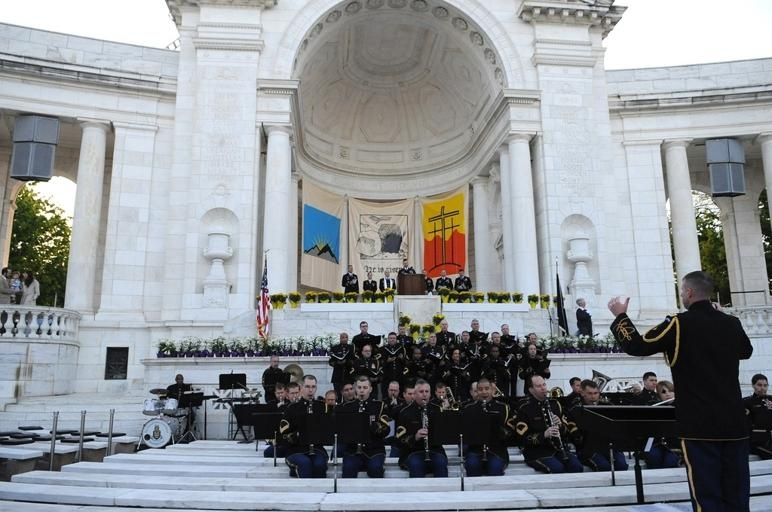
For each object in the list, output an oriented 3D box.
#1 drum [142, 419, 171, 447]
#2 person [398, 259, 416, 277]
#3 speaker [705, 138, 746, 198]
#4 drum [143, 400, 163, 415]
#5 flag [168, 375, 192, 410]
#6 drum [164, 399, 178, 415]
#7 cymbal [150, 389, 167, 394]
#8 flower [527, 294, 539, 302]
[{"bbox_3d":[-7.425,5.754,24.595,0.708,0.703,0.308,-44,-3,-17],"label":"drum"},{"bbox_3d":[1.005,0.563,36.109,0.714,0.893,0.292,-1,-26,-8],"label":"person"},{"bbox_3d":[16.678,-4.382,37.342,1.488,2.858,1.085,5,-12,-34],"label":"speaker"},{"bbox_3d":[-7.587,4.900,24.761,0.566,0.330,0.538,-2,-21,-1],"label":"drum"},{"bbox_3d":[-7.059,4.705,25.953,1.007,1.199,0.690,0,-27,-18],"label":"flag"},{"bbox_3d":[-7.015,4.910,24.752,0.385,0.493,0.357,-2,-10,0],"label":"drum"},{"bbox_3d":[-7.723,4.605,25.736,0.543,0.187,0.569,1,-10,-17],"label":"cymbal"},{"bbox_3d":[6.131,1.773,31.819,0.330,0.250,0.302,-7,-8,36],"label":"flower"}]
